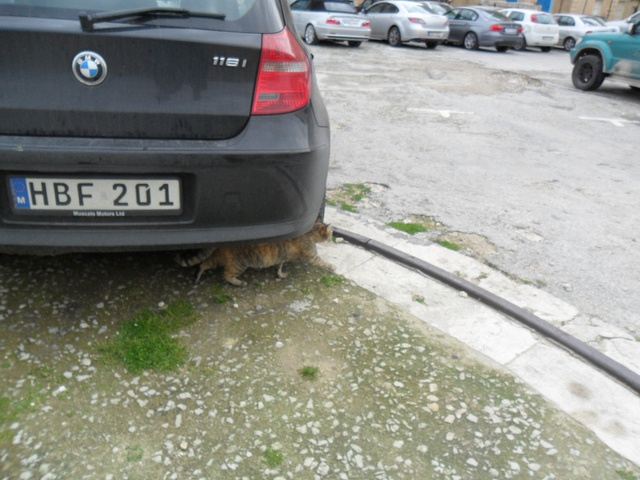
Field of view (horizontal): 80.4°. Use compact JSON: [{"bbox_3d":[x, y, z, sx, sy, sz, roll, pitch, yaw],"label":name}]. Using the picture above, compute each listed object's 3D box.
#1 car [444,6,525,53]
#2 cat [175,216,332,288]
[{"bbox_3d":[8.665,-11.355,20.298,3.793,1.982,1.970,21,34,25],"label":"car"},{"bbox_3d":[-0.506,0.101,2.616,0.851,0.329,0.237,-12,45,-21],"label":"cat"}]
